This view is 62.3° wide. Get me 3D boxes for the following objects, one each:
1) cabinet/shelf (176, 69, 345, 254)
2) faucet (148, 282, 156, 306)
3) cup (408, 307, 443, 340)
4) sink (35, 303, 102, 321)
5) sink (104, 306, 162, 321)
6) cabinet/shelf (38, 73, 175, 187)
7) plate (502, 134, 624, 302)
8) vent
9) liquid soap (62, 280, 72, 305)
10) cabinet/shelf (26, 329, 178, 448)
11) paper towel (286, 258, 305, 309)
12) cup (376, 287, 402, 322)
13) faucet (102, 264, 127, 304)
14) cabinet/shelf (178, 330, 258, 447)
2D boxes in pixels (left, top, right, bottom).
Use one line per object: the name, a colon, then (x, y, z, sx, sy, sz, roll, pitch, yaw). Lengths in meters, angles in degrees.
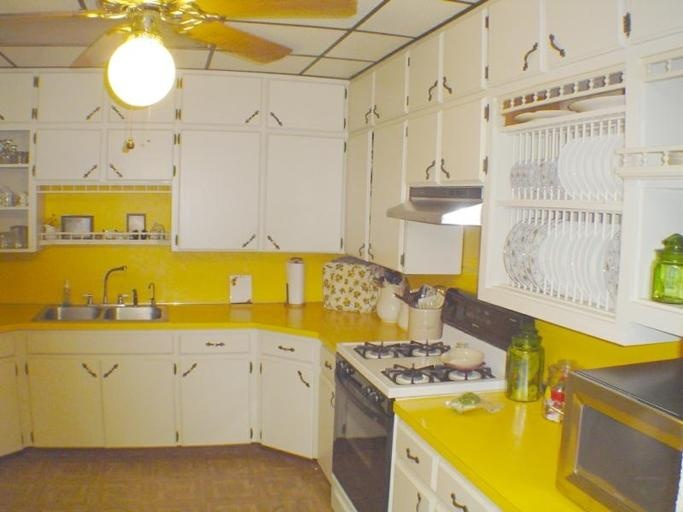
cabinet/shelf: (-0.678, -0.703, 4.503, 1.371, 1.336, 0.477, -2, 9, -26)
faucet: (-1.512, 0.306, 4.521, 0.057, 0.178, 0.165, -1, 4, -18)
cup: (0.530, 0.415, 3.607, 0.183, 0.200, 0.210, 3, 3, 41)
sink: (-2.044, 0.434, 4.290, 0.264, 0.097, 0.209, 2, 12, -12)
sink: (-1.593, 0.434, 4.320, 0.407, 0.111, 0.209, -2, 4, -20)
cabinet/shelf: (-1.653, -0.871, 3.876, 0.797, 0.658, 0.261, 1, -1, -8)
plate: (0.949, -0.139, 2.345, 0.225, 0.559, 0.611, 6, 2, -18)
vent: (0.534, -0.303, 3.091, 0.159, 0.158, 0.549, 4, 2, -41)
liquid soap: (-2.138, 0.282, 4.406, 0.057, 0.176, 0.252, -2, 4, -25)
cabinet/shelf: (-1.658, 0.902, 4.086, 1.027, 0.841, 0.363, 1, 7, -3)
paper towel: (-0.356, 0.209, 4.549, 0.148, 0.377, 0.113, -1, 4, -12)
cup: (0.349, 0.384, 4.093, 0.162, 0.226, 0.168, 11, -13, 3)
faucet: (-1.767, 0.228, 4.405, 0.192, 0.294, 0.359, -2, 4, -21)
cabinet/shelf: (-0.883, 0.932, 4.241, 0.661, 0.780, 0.621, -1, -4, -13)
